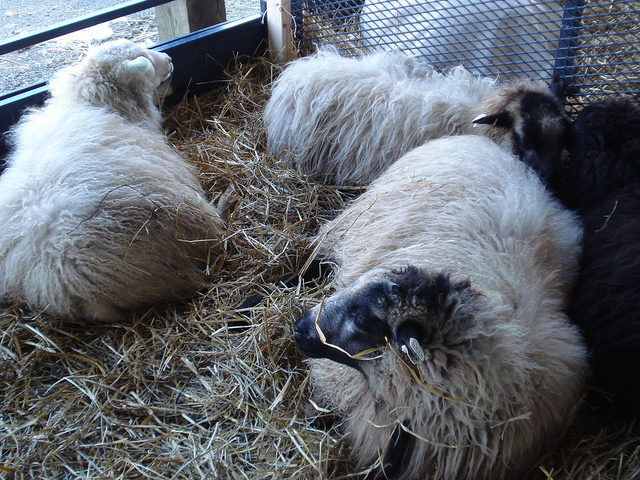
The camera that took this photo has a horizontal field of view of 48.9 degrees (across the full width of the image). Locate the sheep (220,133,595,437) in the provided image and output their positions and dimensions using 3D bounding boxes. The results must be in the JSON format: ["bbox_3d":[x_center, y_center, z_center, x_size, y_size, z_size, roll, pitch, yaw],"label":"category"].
[{"bbox_3d":[0.486,0.200,2.861,1.488,0.601,1.425,7,33,22],"label":"sheep"}]

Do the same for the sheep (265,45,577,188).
[{"bbox_3d":[0.378,-0.497,3.191,1.253,0.650,0.591,21,47,13],"label":"sheep"}]

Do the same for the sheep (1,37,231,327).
[{"bbox_3d":[-0.778,-0.201,3.071,0.863,0.605,1.176,4,61,6],"label":"sheep"}]
